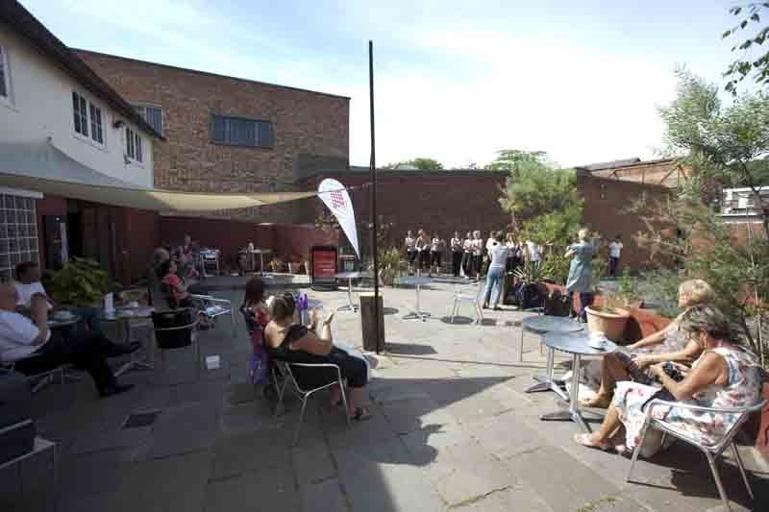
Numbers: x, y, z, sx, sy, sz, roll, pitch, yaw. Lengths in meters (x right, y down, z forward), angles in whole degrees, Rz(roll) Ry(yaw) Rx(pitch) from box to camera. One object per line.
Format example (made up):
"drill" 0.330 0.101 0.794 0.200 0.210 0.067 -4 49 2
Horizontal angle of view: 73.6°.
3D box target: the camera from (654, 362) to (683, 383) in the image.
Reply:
"camera" 3.426 1.355 6.085 0.165 0.083 0.230 1 40 6

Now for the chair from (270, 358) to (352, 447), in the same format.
"chair" -0.964 1.754 6.795 0.920 0.991 1.065 -2 2 -14

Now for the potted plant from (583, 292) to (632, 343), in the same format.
"potted plant" 3.979 1.099 8.943 0.838 0.624 0.859 5 6 2

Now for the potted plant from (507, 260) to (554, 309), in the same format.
"potted plant" 3.297 0.642 11.668 1.108 0.638 1.021 0 6 4

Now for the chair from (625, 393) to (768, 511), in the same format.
"chair" 3.577 2.260 5.909 1.378 1.249 1.221 -1 -3 40

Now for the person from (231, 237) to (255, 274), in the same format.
"person" -5.350 0.110 18.819 0.680 1.186 2.156 0 0 -13

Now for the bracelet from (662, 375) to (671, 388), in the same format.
"bracelet" 3.200 1.407 5.797 0.087 0.045 0.126 29 24 22

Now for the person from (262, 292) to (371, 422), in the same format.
"person" -0.850 1.324 6.890 1.421 1.805 0.918 -9 12 -37

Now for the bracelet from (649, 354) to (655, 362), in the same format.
"bracelet" 3.314 1.258 6.338 0.063 0.064 0.034 -45 8 -29

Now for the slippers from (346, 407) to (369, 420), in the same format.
"slippers" -0.326 2.023 6.650 0.254 0.111 0.121 -1 0 -6

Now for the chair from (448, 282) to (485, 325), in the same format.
"chair" 1.941 1.043 11.717 0.934 1.409 0.825 -1 0 4

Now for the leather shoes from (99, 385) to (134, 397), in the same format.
"leather shoes" -3.770 1.833 7.262 0.465 0.193 0.154 -1 8 -32

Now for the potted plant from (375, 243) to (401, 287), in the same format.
"potted plant" 0.090 0.249 15.366 0.932 1.083 0.997 -3 5 -32

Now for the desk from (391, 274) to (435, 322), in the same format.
"desk" 0.738 0.825 11.818 0.668 0.899 3.519 -1 1 4

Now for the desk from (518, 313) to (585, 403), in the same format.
"desk" 2.394 1.387 7.761 1.005 1.086 0.991 -13 14 -42

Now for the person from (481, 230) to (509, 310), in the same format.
"person" 2.453 0.312 11.333 0.580 1.695 0.831 -1 2 11
